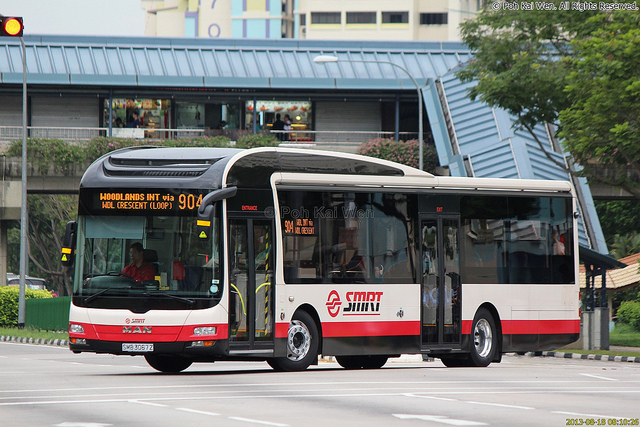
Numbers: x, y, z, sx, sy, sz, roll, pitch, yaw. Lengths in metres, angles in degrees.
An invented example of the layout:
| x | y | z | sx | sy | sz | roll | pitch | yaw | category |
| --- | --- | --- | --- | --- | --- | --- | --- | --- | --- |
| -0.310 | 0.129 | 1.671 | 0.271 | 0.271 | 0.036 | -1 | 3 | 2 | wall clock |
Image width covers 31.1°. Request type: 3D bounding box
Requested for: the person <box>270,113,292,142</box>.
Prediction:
| x | y | z | sx | sy | sz | roll | pitch | yaw | category |
| --- | --- | --- | --- | --- | --- | --- | --- | --- | --- |
| -2.073 | -4.507 | 60.797 | 0.846 | 1.526 | 2.168 | -1 | -5 | -7 | person |

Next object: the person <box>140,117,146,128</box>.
| x | y | z | sx | sy | sz | roll | pitch | yaw | category |
| --- | --- | --- | --- | --- | --- | --- | --- | --- | --- |
| -9.474 | -4.904 | 61.063 | 0.258 | 0.645 | 0.779 | -1 | -4 | -9 | person |

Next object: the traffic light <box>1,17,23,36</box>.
| x | y | z | sx | sy | sz | roll | pitch | yaw | category |
| --- | --- | --- | --- | --- | --- | --- | --- | --- | --- |
| -8.318 | -5.034 | 30.900 | 0.564 | 0.465 | 0.707 | 0 | -5 | -22 | traffic light |

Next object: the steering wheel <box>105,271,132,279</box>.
| x | y | z | sx | sy | sz | roll | pitch | yaw | category |
| --- | --- | --- | --- | --- | --- | --- | --- | --- | --- |
| -5.109 | 1.440 | 29.071 | 0.673 | 0.190 | 0.058 | -3 | -4 | 12 | steering wheel |
